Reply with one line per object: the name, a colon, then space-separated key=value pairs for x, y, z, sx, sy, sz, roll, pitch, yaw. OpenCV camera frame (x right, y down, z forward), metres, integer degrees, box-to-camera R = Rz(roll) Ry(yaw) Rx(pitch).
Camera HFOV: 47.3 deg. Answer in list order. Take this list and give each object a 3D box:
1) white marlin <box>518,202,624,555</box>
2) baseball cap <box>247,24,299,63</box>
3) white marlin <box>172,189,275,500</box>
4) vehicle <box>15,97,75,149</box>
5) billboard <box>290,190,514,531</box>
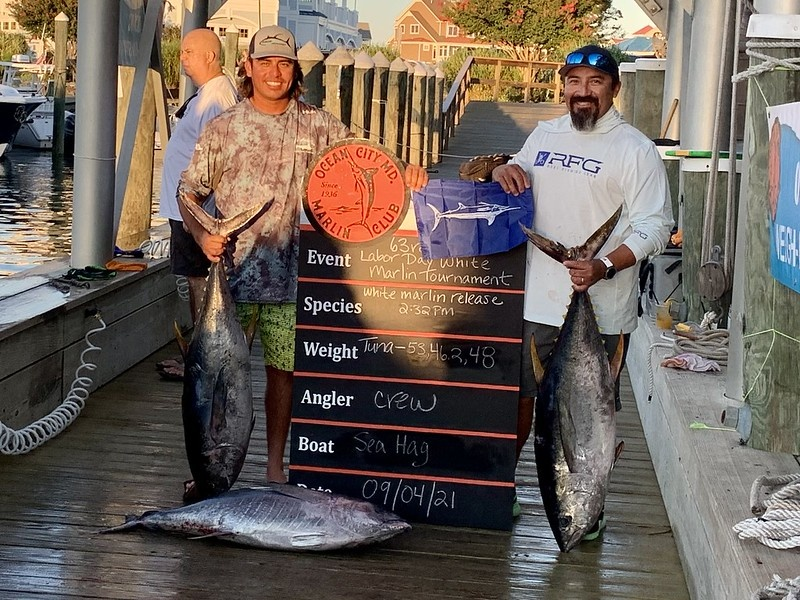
white marlin: x=0.724 y=0.502 z=3.851 sx=0.378 sy=1.098 sz=0.225 roll=3 pitch=11 yaw=9
baseball cap: x=-0.581 y=-1.158 z=4.176 sx=0.216 sy=0.149 sz=0.230 roll=-1 pitch=14 yaw=-12
white marlin: x=-0.805 y=0.367 z=4.030 sx=0.302 sy=1.050 sz=0.207 roll=-2 pitch=11 yaw=-16
vehicle: x=-11.558 y=-5.582 z=29.558 sx=1.193 sy=1.069 sz=2.188 roll=3 pitch=18 yaw=0
billboard: x=0.029 y=0.206 z=4.335 sx=1.028 sy=0.042 sz=1.669 roll=4 pitch=57 yaw=3
